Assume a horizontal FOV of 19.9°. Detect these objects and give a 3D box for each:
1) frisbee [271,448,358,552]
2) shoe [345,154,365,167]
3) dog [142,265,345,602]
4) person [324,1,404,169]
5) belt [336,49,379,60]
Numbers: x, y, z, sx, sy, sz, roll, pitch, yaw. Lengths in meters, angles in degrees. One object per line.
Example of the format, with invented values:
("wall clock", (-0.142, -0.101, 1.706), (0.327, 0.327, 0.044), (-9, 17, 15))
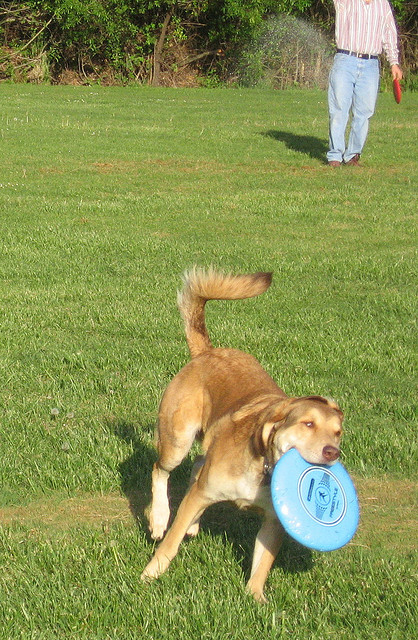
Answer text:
("frisbee", (0.664, 0.993, 6.992), (0.517, 0.676, 0.124), (19, 25, 11))
("shoe", (2.363, -2.540, 19.021), (0.295, 0.193, 0.285), (-7, 16, -28))
("dog", (0.089, 0.796, 7.840), (0.727, 1.799, 2.574), (16, 9, -22))
("person", (2.295, -3.497, 18.111), (0.961, 2.583, 1.473), (-3, 12, -14))
("belt", (2.225, -3.946, 17.783), (0.599, 0.142, 0.159), (1, 14, 2))
